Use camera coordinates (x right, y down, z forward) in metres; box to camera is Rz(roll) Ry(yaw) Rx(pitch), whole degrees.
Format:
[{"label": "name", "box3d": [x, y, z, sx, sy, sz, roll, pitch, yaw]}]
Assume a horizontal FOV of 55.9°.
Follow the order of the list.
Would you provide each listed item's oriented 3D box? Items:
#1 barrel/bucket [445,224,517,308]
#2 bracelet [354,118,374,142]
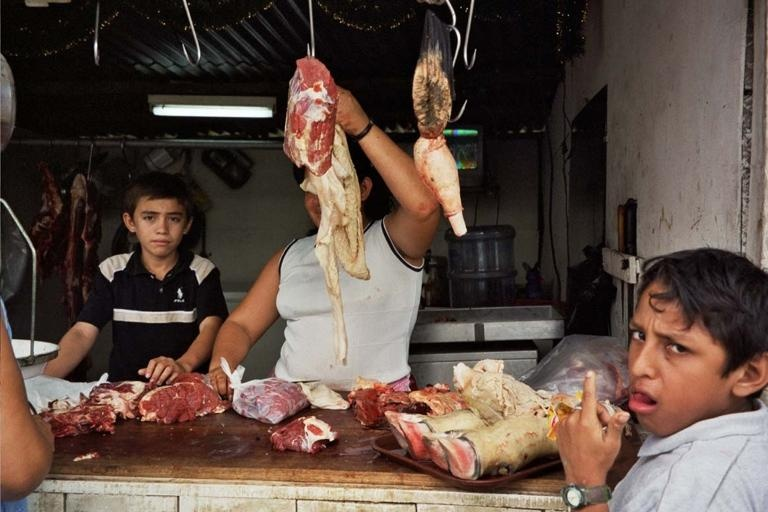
[{"label": "barrel/bucket", "box3d": [0.729, 0.094, 5.895, 0.552, 0.652, 0.593, -1, -6, 0]}, {"label": "bracelet", "box3d": [-0.107, -0.598, 3.440, 0.106, 0.068, 0.082, -3, -2, 13]}]
